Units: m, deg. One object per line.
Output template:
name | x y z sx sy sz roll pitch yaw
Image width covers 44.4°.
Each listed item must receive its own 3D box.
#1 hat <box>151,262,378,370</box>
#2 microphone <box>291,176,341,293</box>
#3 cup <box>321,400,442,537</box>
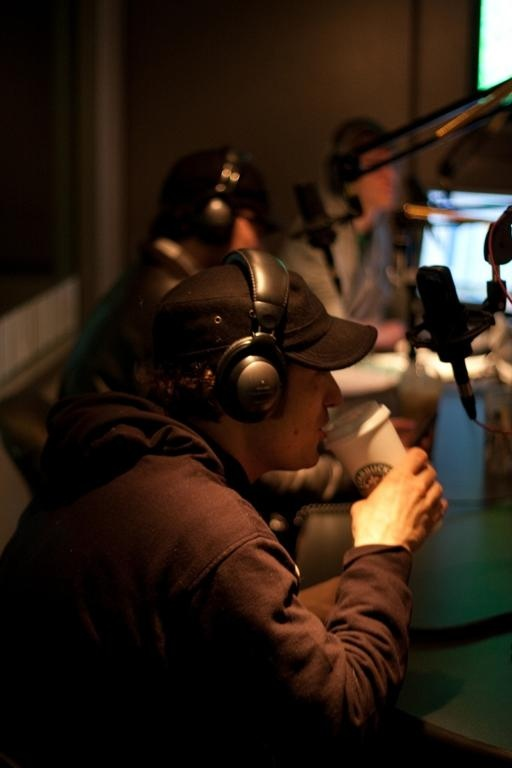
hat | -0.001 -0.063 0.645 0.184 0.094 0.125 -11 9 -7
microphone | 0.085 -0.200 0.819 0.039 0.104 0.015 9 51 34
cup | 0.129 0.095 0.752 0.114 0.135 0.097 -44 14 -34
